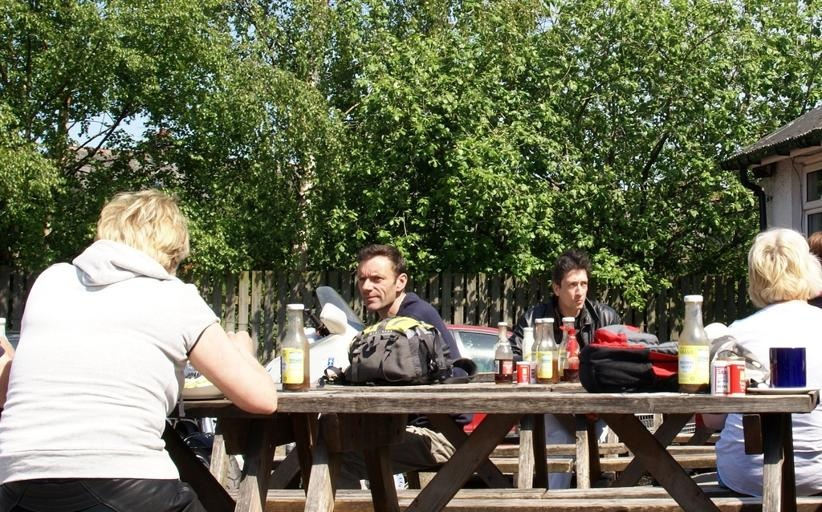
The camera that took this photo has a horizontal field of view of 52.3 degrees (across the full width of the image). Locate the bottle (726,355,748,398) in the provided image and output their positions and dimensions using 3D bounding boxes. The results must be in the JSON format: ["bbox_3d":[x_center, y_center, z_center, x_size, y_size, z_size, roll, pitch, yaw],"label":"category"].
[{"bbox_3d":[2.147,0.800,5.533,0.150,0.236,0.057,1,-8,-27],"label":"bottle"}]

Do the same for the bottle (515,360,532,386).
[{"bbox_3d":[0.903,0.984,6.983,0.151,0.169,0.153,1,-7,-2],"label":"bottle"}]

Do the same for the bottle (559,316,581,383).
[{"bbox_3d":[1.377,0.824,7.383,0.162,0.578,0.461,-3,-7,9],"label":"bottle"}]

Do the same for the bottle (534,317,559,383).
[{"bbox_3d":[1.134,0.806,7.084,0.204,0.549,0.371,-3,-7,9],"label":"bottle"}]

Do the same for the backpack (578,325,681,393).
[{"bbox_3d":[1.589,0.691,6.102,0.851,0.319,0.676,-1,6,-14],"label":"backpack"}]

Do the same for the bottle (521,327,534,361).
[{"bbox_3d":[1.008,0.772,7.220,0.098,0.295,0.268,-3,-8,8],"label":"bottle"}]
